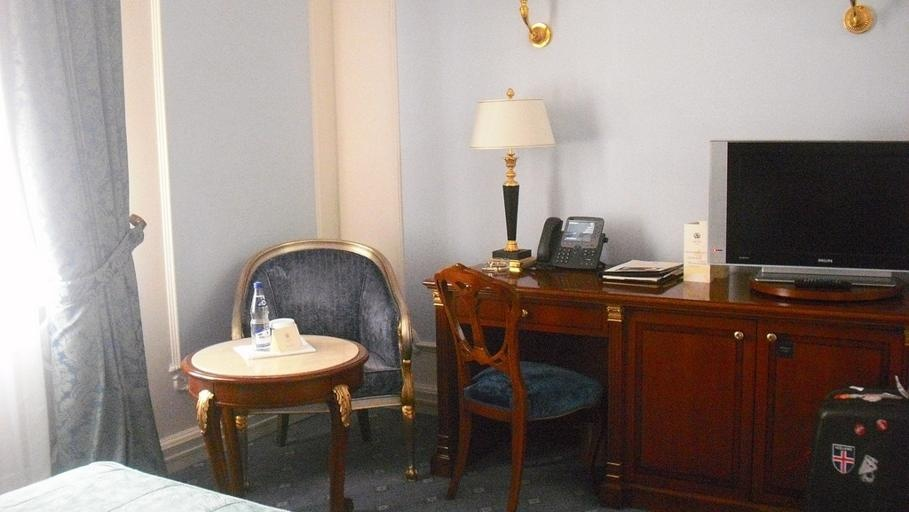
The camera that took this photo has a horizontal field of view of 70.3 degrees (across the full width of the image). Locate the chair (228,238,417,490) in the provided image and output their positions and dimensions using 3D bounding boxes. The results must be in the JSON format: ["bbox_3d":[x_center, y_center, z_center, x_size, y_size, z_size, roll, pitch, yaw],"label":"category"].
[{"bbox_3d":[-0.793,0.543,3.788,1.002,1.156,0.920,-1,4,-16],"label":"chair"}]

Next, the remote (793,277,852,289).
[{"bbox_3d":[1.880,0.143,3.289,0.271,0.032,0.149,1,10,16],"label":"remote"}]

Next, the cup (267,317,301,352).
[{"bbox_3d":[-0.906,0.425,3.458,0.153,0.132,0.128,-14,10,-30],"label":"cup"}]

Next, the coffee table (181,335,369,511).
[{"bbox_3d":[-0.930,0.769,3.654,1.016,0.765,0.911,-1,13,-3],"label":"coffee table"}]

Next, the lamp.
[{"bbox_3d":[0.360,-0.481,3.986,0.527,1.088,0.421,-12,15,-42],"label":"lamp"}]
